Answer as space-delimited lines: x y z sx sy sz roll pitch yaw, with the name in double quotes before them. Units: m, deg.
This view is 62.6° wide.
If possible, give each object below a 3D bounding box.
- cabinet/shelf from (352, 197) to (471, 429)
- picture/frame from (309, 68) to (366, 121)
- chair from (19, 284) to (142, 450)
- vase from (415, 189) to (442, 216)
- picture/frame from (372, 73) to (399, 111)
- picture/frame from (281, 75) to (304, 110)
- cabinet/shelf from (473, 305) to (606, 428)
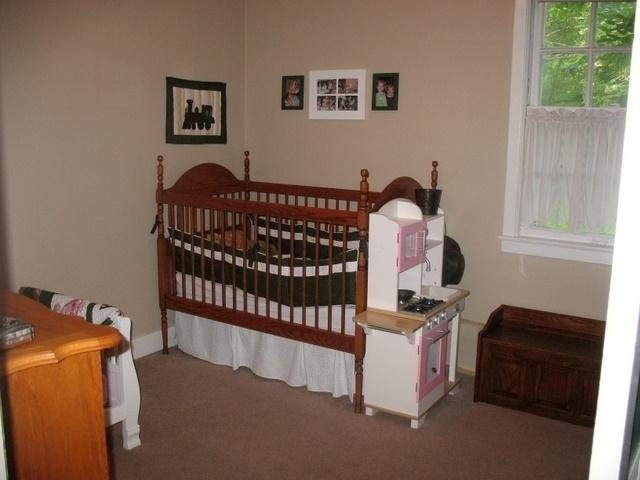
"cabinet/shelf" 0.542 0.481 3.282 0.426 1.460 1.060 5 15 28
"picture/frame" 0.156 -1.186 4.234 0.404 0.326 0.018 9 16 32
"chair" -1.304 0.621 3.057 0.890 0.635 0.728 13 17 37
"vase" 0.695 -0.253 3.426 0.164 0.146 0.155 0 4 2
"picture/frame" 0.503 -1.143 4.021 0.242 0.320 0.022 12 20 36
"picture/frame" -0.227 -1.258 4.434 0.240 0.355 0.032 9 16 29
"cabinet/shelf" 1.396 0.797 3.367 0.921 0.695 0.586 5 7 33
